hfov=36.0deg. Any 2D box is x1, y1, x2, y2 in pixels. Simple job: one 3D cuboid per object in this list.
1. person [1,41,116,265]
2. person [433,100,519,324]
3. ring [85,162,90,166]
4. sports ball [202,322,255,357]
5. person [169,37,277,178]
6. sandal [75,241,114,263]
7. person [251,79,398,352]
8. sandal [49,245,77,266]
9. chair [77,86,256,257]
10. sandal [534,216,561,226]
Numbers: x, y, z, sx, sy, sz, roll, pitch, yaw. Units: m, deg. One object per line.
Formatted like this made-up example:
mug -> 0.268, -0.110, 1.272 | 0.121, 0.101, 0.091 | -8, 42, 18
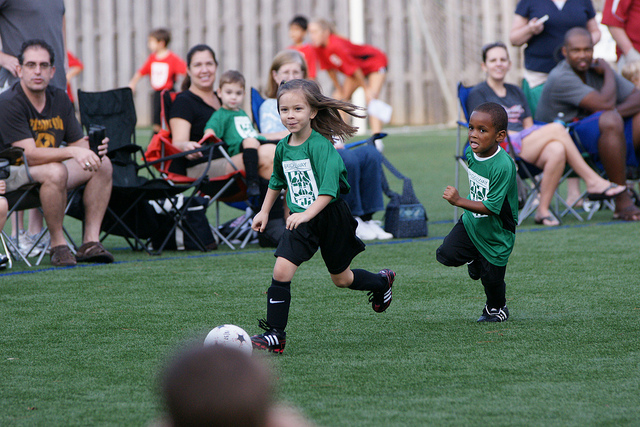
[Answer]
person -> -1.965, -0.462, 7.514 | 0.783, 1.661, 0.756 | -4, 7, -12
person -> 1.057, -0.049, 6.586 | 0.499, 1.367, 1.219 | -1, 7, 11
ring -> -1.707, -0.362, 7.227 | 0.025, 0.025, 0.006 | 6, -8, 2
sports ball -> -0.499, 0.683, 5.359 | 0.234, 0.208, 0.202 | 4, 2, -37
person -> -0.938, -0.856, 8.585 | 1.069, 1.251, 0.883 | 2, 4, 34
sandal -> -1.684, 0.288, 7.387 | 0.257, 0.103, 0.135 | -3, -4, 39
person -> -0.064, -0.028, 6.129 | 0.992, 1.585, 0.445 | -6, 8, -29
sandal -> -1.923, 0.299, 7.380 | 0.186, 0.153, 0.250 | -5, 8, -18
chair -> -1.401, -0.377, 7.783 | 1.183, 1.324, 0.915 | 6, 3, 28
sandal -> 2.008, 0.056, 8.721 | 0.076, 0.058, 0.210 | -8, 9, -44
